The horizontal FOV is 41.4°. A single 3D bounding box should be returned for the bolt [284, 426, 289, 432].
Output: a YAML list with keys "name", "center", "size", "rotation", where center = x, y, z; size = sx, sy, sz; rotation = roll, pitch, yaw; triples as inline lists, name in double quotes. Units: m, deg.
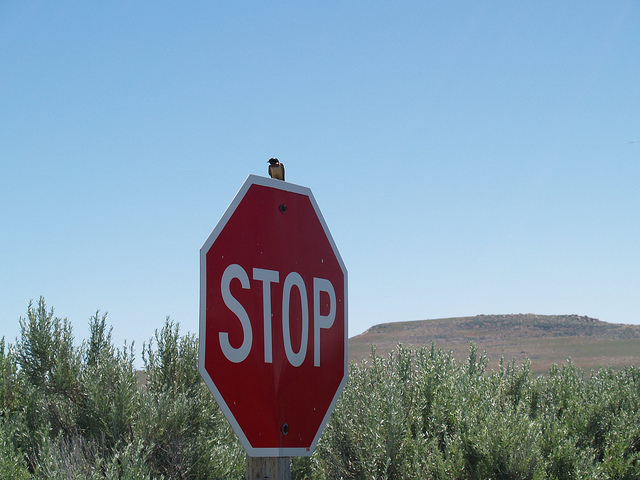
- name: "bolt"
  center: [-0.354, 1.883, 8.577]
  size: [0.041, 0.053, 0.011]
  rotation: [-2, 1, -5]

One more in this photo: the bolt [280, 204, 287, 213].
- name: "bolt"
  center: [-0.392, -0.340, 8.828]
  size: [0.071, 0.086, 0.012]
  rotation: [4, -9, -31]
